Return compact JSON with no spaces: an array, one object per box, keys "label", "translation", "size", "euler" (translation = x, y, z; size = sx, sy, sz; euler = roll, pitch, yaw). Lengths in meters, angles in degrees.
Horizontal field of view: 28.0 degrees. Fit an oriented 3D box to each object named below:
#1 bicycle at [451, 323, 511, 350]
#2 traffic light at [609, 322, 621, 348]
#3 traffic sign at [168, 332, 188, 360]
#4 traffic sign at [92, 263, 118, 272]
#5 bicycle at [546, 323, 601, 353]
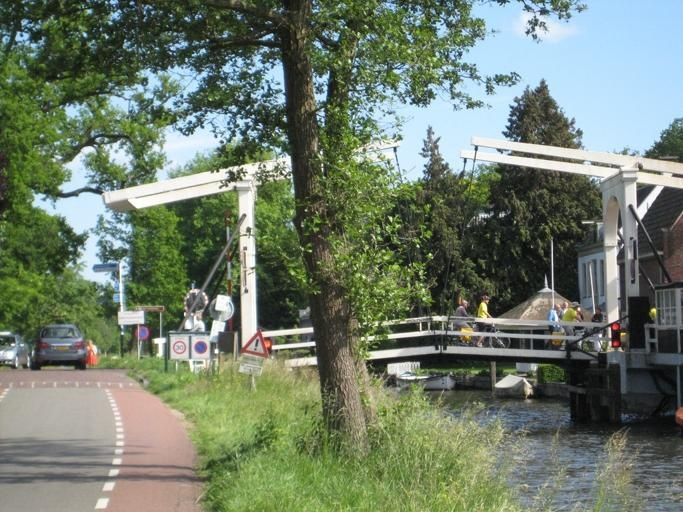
[{"label":"bicycle","translation":[5.091,2.852,50.585],"size":[2.099,1.451,1.052],"euler":[-2,-4,3]},{"label":"traffic light","translation":[8.561,2.451,43.142],"size":[0.299,0.880,0.533],"euler":[-2,5,9]},{"label":"traffic sign","translation":[-4.939,2.702,41.588],"size":[0.698,0.959,0.121],"euler":[0,2,6]},{"label":"traffic sign","translation":[-10.906,0.455,63.838],"size":[0.546,0.420,2.383],"euler":[-7,6,-30]},{"label":"bicycle","translation":[8.195,2.847,47.795],"size":[1.178,0.816,1.284],"euler":[-3,-6,18]}]
